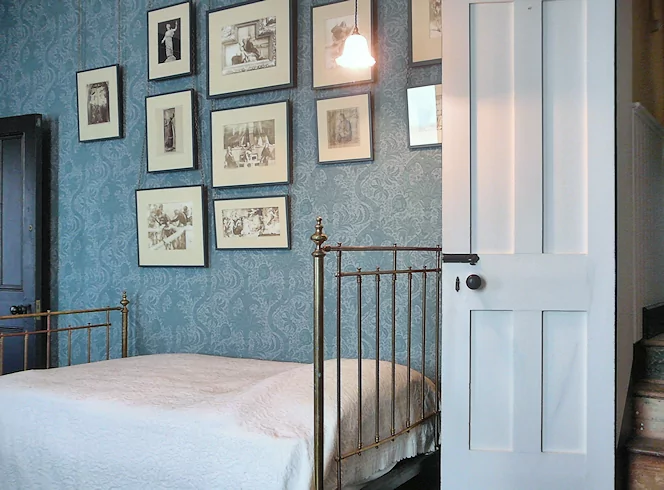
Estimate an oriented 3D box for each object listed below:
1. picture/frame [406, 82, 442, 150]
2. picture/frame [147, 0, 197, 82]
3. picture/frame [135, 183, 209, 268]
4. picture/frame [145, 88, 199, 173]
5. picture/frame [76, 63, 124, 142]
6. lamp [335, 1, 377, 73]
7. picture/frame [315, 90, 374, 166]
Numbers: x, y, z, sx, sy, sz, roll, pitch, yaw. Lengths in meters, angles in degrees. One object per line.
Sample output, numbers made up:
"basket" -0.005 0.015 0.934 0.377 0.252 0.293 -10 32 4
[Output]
"picture/frame" 0.571 -0.807 3.727 0.190 0.377 0.116 -1 12 6
"picture/frame" -1.144 -1.505 4.388 0.556 0.715 0.047 2 2 32
"picture/frame" -1.133 -0.143 4.383 0.570 0.590 0.061 0 0 27
"picture/frame" -1.145 -0.842 4.392 0.574 0.807 0.081 0 2 23
"picture/frame" -1.765 -1.108 4.642 0.556 0.720 0.070 2 4 30
"lamp" 0.139 -1.281 3.569 0.232 0.431 0.562 -2 12 4
"picture/frame" 0.100 -0.766 3.890 0.455 0.528 0.026 1 5 26
